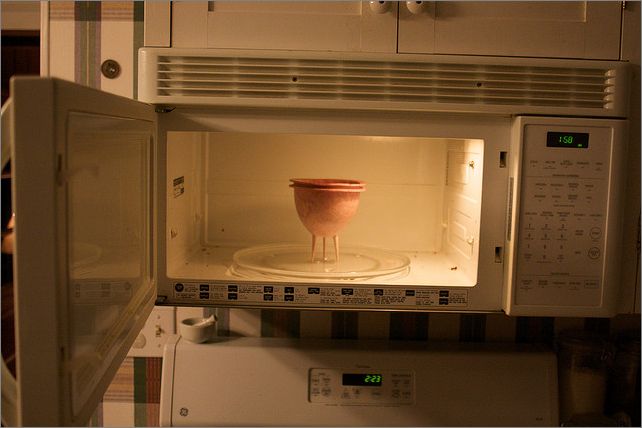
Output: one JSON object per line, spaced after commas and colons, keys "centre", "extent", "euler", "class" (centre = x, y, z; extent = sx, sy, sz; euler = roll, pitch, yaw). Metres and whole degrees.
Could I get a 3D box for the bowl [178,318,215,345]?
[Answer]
{"centre": [-0.404, 0.366, 2.110], "extent": [0.091, 0.071, 0.074], "euler": [3, 6, 26], "class": "bowl"}
